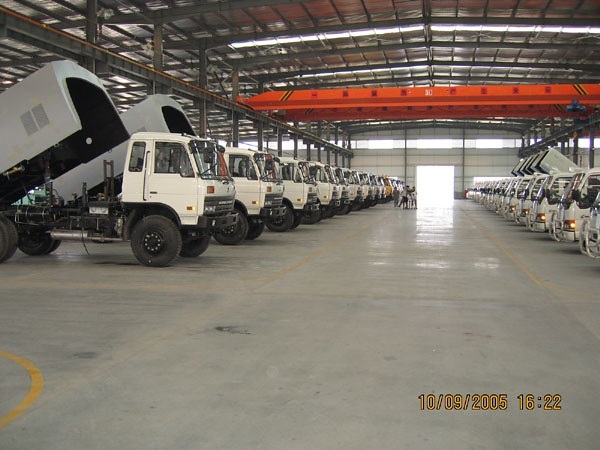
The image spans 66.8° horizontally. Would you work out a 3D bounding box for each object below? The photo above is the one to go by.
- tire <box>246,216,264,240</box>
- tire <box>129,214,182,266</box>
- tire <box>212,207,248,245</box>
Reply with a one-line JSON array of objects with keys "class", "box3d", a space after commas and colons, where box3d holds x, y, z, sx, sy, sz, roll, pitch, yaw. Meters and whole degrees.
[{"class": "tire", "box3d": [-1.491, 0.044, 15.079, 0.961, 0.763, 0.309, 0, 5, 5]}, {"class": "tire", "box3d": [-3.161, 0.358, 10.322, 1.401, 1.153, 0.497, 4, 1, 29]}, {"class": "tire", "box3d": [-1.887, -0.012, 12.517, 1.371, 1.112, 0.449, -3, 3, 21]}]
